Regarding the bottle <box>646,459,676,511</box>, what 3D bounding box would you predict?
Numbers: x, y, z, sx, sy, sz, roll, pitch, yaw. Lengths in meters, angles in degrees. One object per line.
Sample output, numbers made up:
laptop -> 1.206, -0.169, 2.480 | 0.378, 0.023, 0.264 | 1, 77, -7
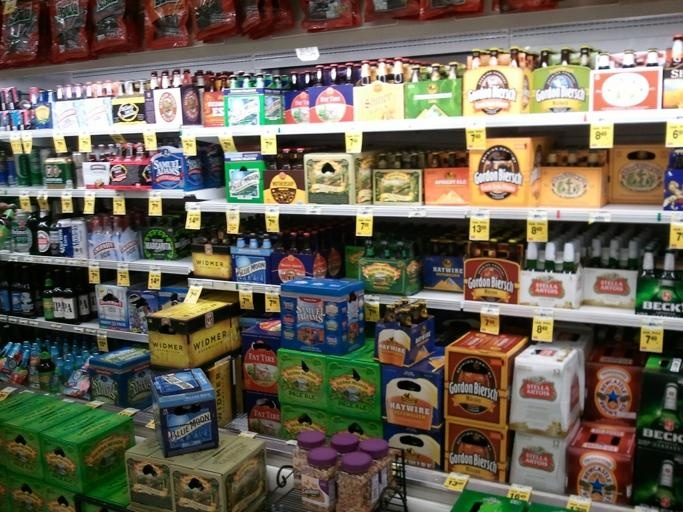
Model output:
bottle -> 1.662, 1.194, 2.802 | 0.098, 0.259, 0.060 | -1, 9, 26
